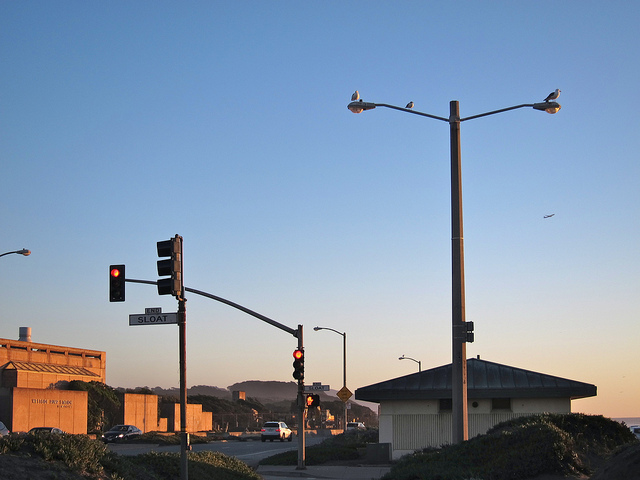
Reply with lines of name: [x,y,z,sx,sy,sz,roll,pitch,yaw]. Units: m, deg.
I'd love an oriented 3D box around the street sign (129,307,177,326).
street sign: [-6.797,3.223,46.160,1.440,0.921,1.681,11,-21,-39]

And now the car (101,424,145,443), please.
car: [-14.567,13.994,82.507,1.607,1.563,4.270,-5,-17,11]

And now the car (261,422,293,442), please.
car: [-3.153,14.465,85.791,1.134,1.123,2.829,-1,-4,14]

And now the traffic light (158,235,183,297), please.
traffic light: [-6.056,1.041,45.909,1.005,2.645,1.254,1,-14,-8]

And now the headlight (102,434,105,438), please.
headlight: [-15.492,13.998,81.177,0.132,0.303,0.695,1,-17,-11]

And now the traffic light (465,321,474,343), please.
traffic light: [6.038,3.731,45.875,0.304,0.778,0.283,-4,-14,9]

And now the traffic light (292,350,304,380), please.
traffic light: [-1.118,6.217,56.927,0.614,1.431,0.376,8,-17,-35]

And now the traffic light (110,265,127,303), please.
traffic light: [-8.627,1.821,48.032,0.644,1.763,0.410,-3,23,-11]
